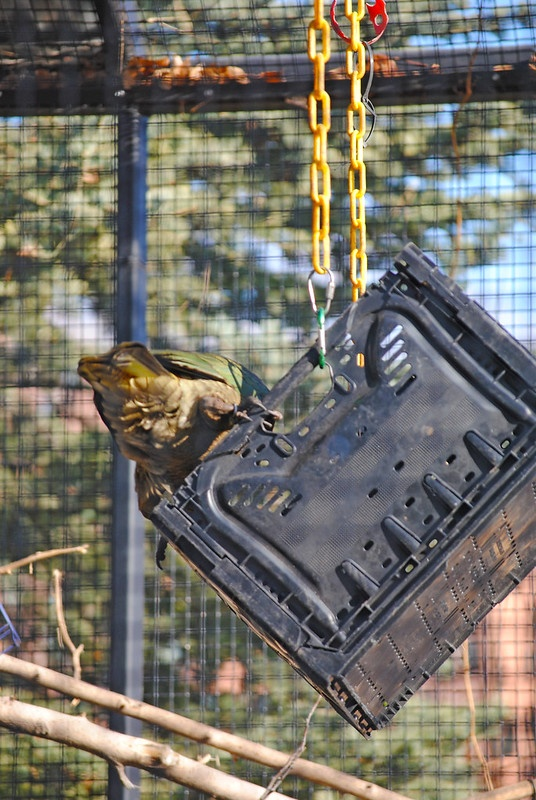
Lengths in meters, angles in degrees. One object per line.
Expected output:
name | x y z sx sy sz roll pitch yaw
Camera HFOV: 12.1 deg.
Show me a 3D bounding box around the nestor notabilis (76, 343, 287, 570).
nestor notabilis | -0.240 0.148 5.492 0.221 0.408 0.338 -39 39 -17
